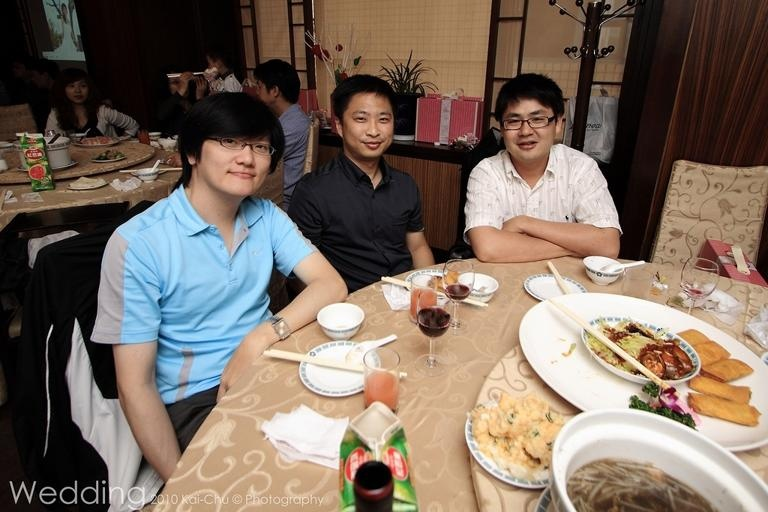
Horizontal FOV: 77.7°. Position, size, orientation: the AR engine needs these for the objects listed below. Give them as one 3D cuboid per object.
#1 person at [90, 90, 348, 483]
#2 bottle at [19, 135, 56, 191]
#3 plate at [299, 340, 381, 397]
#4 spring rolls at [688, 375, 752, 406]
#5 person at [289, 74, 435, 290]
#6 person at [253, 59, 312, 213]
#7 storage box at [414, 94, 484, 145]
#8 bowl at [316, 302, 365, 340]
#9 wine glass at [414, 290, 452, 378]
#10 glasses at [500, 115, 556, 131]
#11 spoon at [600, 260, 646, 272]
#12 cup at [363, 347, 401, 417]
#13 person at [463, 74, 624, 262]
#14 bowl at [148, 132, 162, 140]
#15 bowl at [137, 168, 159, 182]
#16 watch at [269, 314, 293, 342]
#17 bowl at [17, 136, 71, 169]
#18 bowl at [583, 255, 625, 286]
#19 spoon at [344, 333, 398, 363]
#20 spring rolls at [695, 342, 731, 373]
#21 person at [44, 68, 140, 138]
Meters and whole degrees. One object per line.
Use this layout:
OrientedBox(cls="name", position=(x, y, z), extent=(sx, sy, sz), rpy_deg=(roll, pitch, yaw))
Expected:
OrientedBox(cls="person", position=(-0.670, 0.188, 2.024), extent=(0.958, 1.432, 0.799), rpy_deg=(-6, 37, -18))
OrientedBox(cls="bottle", position=(-2.294, -0.632, 3.151), extent=(0.119, 0.378, 0.157), rpy_deg=(-12, 35, -33))
OrientedBox(cls="plate", position=(-0.188, 0.387, 1.725), extent=(0.282, 0.129, 0.344), rpy_deg=(-9, 17, -37))
OrientedBox(cls="spring rolls", position=(1.105, 0.438, 1.565), extent=(0.104, 0.026, 0.086), rpy_deg=(18, 27, 41))
OrientedBox(cls="person", position=(-0.148, -0.274, 2.761), extent=(0.594, 1.421, 0.634), rpy_deg=(-8, 25, -18))
OrientedBox(cls="person", position=(-0.808, -1.033, 4.212), extent=(0.580, 1.430, 0.598), rpy_deg=(-2, 21, -13))
OrientedBox(cls="storage box", position=(0.595, -1.250, 4.399), extent=(0.542, 0.397, 0.317), rpy_deg=(11, 23, 19))
OrientedBox(cls="bowl", position=(-0.166, 0.269, 1.852), extent=(0.166, 0.079, 0.171), rpy_deg=(1, 26, 0))
OrientedBox(cls="wine glass", position=(0.181, 0.267, 1.764), extent=(0.155, 0.316, 0.161), rpy_deg=(4, 11, 14))
OrientedBox(cls="glasses", position=(0.779, -0.719, 2.570), extent=(0.270, 0.078, 0.072), rpy_deg=(2, 28, 9))
OrientedBox(cls="spoon", position=(1.081, 0.020, 2.154), extent=(0.090, 0.055, 0.148), rpy_deg=(-23, 16, -38))
OrientedBox(cls="cup", position=(-0.007, 0.418, 1.597), extent=(0.124, 0.189, 0.118), rpy_deg=(0, 17, 0))
OrientedBox(cls="person", position=(0.841, -0.472, 2.487), extent=(0.811, 0.828, 0.844), rpy_deg=(2, 28, 10))
OrientedBox(cls="bowl", position=(-2.107, -1.108, 4.384), extent=(0.122, 0.049, 0.123), rpy_deg=(6, 30, -3))
OrientedBox(cls="bowl", position=(-1.667, -0.580, 3.378), extent=(0.117, 0.073, 0.091), rpy_deg=(-8, 18, -37))
OrientedBox(cls="watch", position=(-0.401, 0.276, 1.863), extent=(0.061, 0.096, 0.090), rpy_deg=(-25, 8, -18))
OrientedBox(cls="bowl", position=(-2.322, -0.714, 3.269), extent=(0.244, 0.171, 0.250), rpy_deg=(2, 19, -1))
OrientedBox(cls="bowl", position=(0.996, 0.073, 2.160), extent=(0.139, 0.074, 0.143), rpy_deg=(0, 32, 0))
OrientedBox(cls="spoon", position=(-0.056, 0.336, 1.766), extent=(0.139, 0.021, 0.087), rpy_deg=(-18, 29, -36))
OrientedBox(cls="spring rolls", position=(1.149, 0.351, 1.669), extent=(0.101, 0.024, 0.076), rpy_deg=(-32, 44, -28))
OrientedBox(cls="person", position=(-2.992, -1.338, 4.817), extent=(0.729, 1.023, 0.852), rpy_deg=(-6, 24, -24))
